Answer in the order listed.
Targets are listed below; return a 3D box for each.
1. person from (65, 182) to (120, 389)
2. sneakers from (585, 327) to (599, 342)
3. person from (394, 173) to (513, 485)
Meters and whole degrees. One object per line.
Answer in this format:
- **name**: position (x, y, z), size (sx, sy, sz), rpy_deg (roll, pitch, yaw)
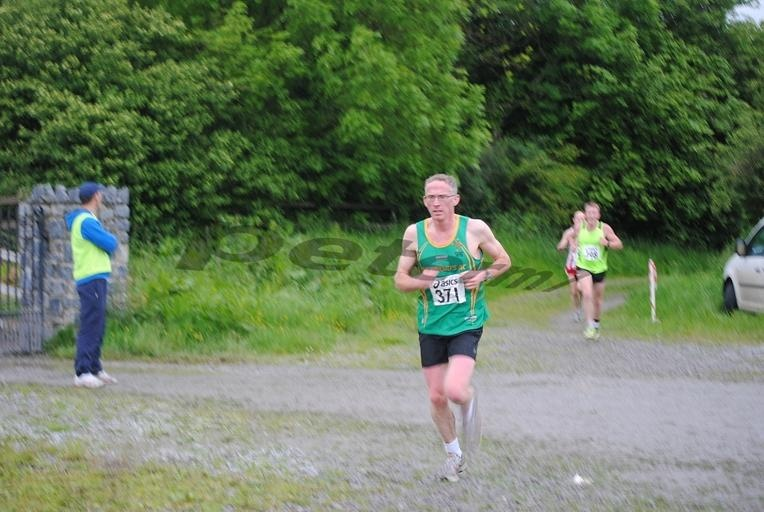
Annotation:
- **person**: position (-4.756, 0.499, 17.804), size (0.687, 3.251, 0.892), rpy_deg (-2, 11, -17)
- **sneakers**: position (4.226, 1.562, 21.626), size (0.161, 0.213, 0.462), rpy_deg (-3, -13, 13)
- **person**: position (0.951, 0.992, 15.167), size (1.382, 4.144, 0.930), rpy_deg (2, 11, 5)
